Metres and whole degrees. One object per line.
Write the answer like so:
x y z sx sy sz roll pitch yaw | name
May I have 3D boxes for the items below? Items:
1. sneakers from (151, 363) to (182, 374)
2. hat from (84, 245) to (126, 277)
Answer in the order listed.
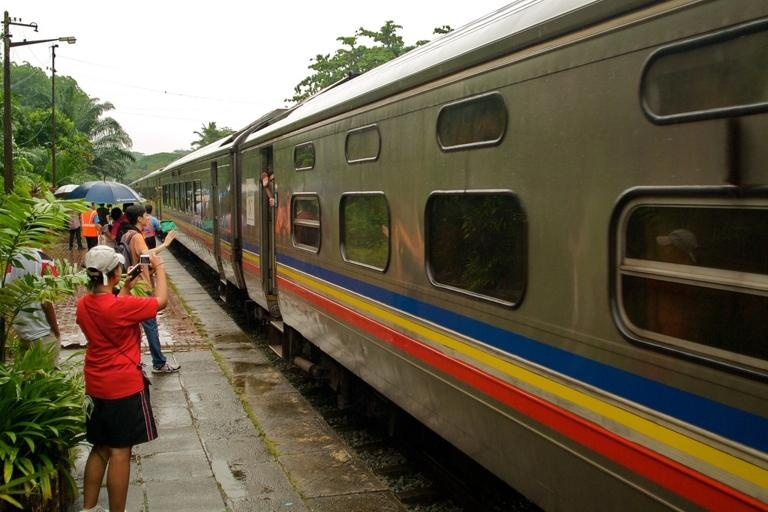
-3.190 1.597 7.852 0.364 0.158 0.160 -1 4 -14 | sneakers
-2.106 0.020 4.124 0.195 0.173 0.272 13 27 22 | hat
